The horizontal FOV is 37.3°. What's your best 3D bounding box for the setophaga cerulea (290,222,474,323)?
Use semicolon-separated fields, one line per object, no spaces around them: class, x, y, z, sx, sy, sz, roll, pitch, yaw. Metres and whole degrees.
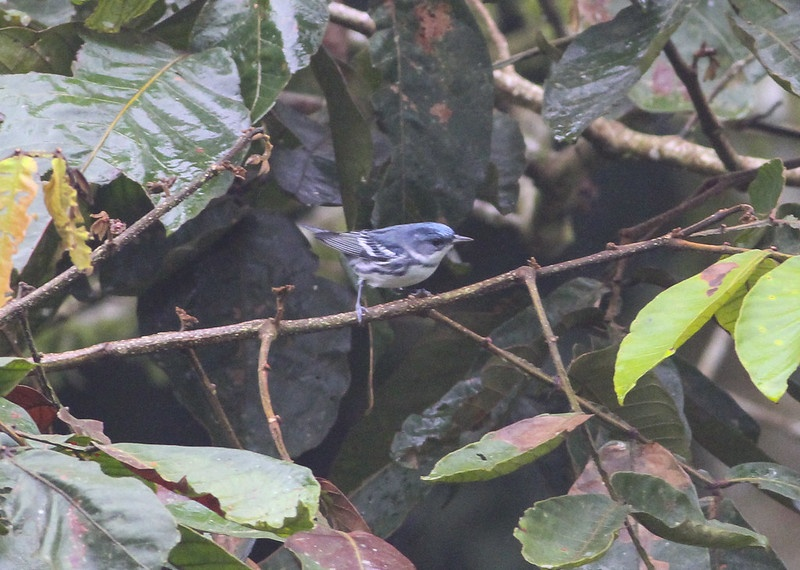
setophaga cerulea;-0.057;-0.082;3.305;0.568;0.242;0.203;15;18;34
